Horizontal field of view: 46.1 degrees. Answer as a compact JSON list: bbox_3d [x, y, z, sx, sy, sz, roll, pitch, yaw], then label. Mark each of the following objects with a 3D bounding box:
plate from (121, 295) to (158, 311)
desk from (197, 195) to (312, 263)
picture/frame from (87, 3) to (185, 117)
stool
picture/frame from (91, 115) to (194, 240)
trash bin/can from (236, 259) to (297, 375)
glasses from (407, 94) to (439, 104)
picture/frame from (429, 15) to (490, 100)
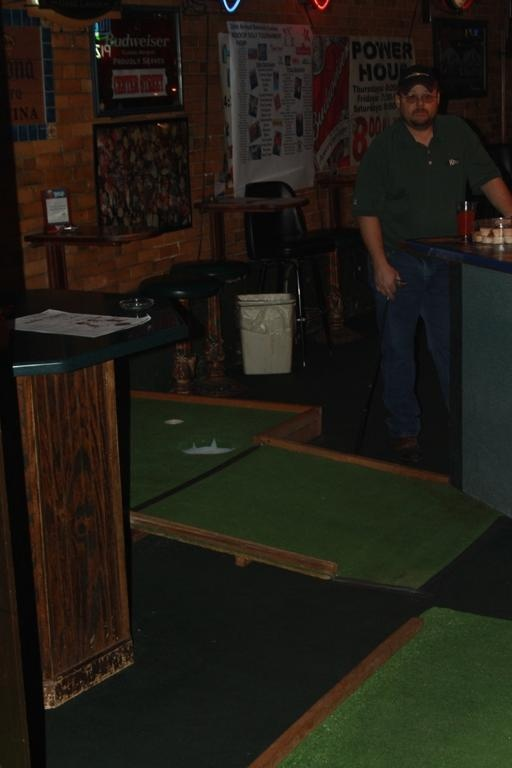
[{"bbox_3d":[-0.326,-0.218,1.663,0.069,0.023,0.071,2,13,6],"label":"plate"},{"bbox_3d":[-0.084,-1.204,4.792,0.705,0.452,0.646,-3,17,-6],"label":"desk"},{"bbox_3d":[-0.963,-2.530,4.692,0.040,0.778,1.074,11,28,29],"label":"picture/frame"},{"bbox_3d":[-0.463,-0.374,3.864,0.738,0.980,0.819,5,19,20],"label":"stool"},{"bbox_3d":[-0.924,-1.726,4.984,0.775,0.644,0.031,-4,18,-11],"label":"picture/frame"},{"bbox_3d":[0.036,-0.404,4.366,0.499,0.597,0.460,-8,19,-17],"label":"trash bin/can"},{"bbox_3d":[0.777,-1.316,2.796,0.146,0.047,0.039,-5,7,-12],"label":"glasses"},{"bbox_3d":[2.879,-4.545,8.456,1.051,1.094,0.081,-12,13,-24],"label":"picture/frame"}]
